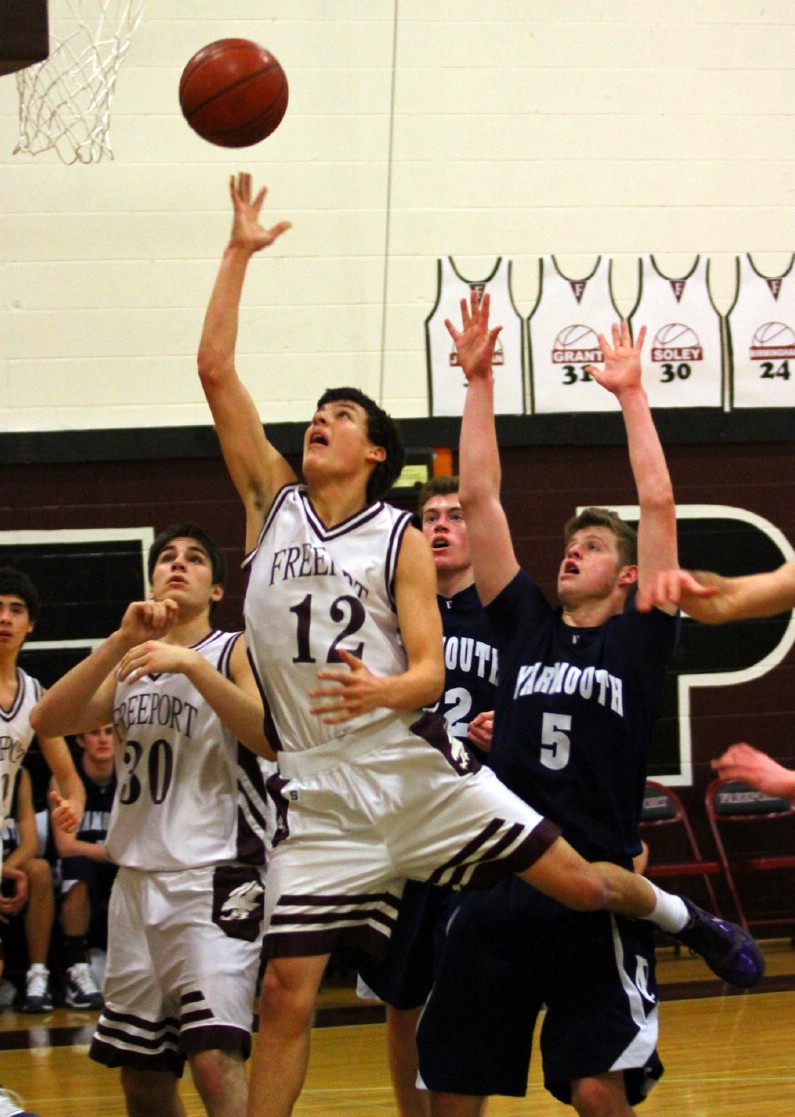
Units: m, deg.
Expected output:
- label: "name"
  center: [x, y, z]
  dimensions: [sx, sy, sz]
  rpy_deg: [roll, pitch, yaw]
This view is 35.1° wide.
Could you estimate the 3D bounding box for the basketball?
- label: "basketball"
  center: [-0.429, -1.252, 3.331]
  dimensions: [0.279, 0.296, 0.124]
  rpy_deg: [-5, 0, -8]
